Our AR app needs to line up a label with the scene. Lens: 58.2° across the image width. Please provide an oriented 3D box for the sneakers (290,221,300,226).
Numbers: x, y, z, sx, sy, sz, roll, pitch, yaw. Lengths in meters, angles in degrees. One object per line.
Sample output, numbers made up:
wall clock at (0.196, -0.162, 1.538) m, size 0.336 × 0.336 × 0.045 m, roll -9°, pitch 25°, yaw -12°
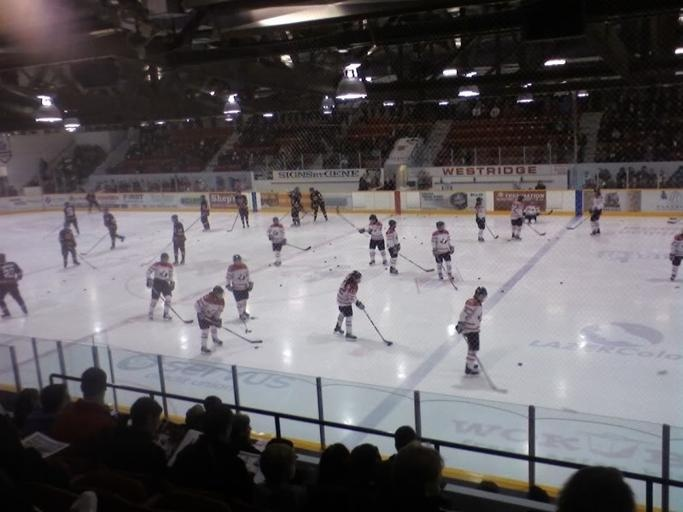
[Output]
sneakers at (-1.792, -1.234, 24.180) m, size 0.250 × 0.254 × 0.136 m, roll 6°, pitch -16°, yaw -39°

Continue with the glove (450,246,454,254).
glove at (2.475, -0.135, 13.777) m, size 0.087 × 0.154 × 0.116 m, roll -27°, pitch 56°, yaw -10°

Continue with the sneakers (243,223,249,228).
sneakers at (-3.832, -1.211, 24.487) m, size 0.242 × 0.121 × 0.267 m, roll 10°, pitch 31°, yaw -5°

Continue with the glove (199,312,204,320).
glove at (-2.342, 1.009, 10.240) m, size 0.085 × 0.082 × 0.025 m, roll 0°, pitch -11°, yaw 7°

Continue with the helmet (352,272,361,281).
helmet at (0.241, 0.322, 10.479) m, size 0.125 × 0.155 × 0.147 m, roll 14°, pitch -22°, yaw 11°

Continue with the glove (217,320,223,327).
glove at (-2.075, 1.163, 10.435) m, size 0.042 × 0.127 × 0.094 m, roll 3°, pitch 5°, yaw 1°

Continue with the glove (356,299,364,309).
glove at (0.318, 0.830, 10.421) m, size 0.070 × 0.156 × 0.090 m, roll -22°, pitch 27°, yaw 47°

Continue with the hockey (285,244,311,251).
hockey at (-1.201, -0.260, 18.949) m, size 0.635 × 0.261 × 0.018 m, roll 3°, pitch 4°, yaw 37°

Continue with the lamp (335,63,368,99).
lamp at (0.143, -2.876, 10.133) m, size 0.560 × 0.576 × 0.548 m, roll -2°, pitch 22°, yaw -3°

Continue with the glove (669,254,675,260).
glove at (6.868, 0.022, 12.742) m, size 0.118 × 0.045 × 0.145 m, roll -2°, pitch 49°, yaw 10°

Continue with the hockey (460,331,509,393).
hockey at (2.020, 1.564, 9.130) m, size 0.233 × 0.214 × 1.559 m, roll 37°, pitch 9°, yaw -20°

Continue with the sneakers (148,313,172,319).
sneakers at (-3.639, 1.239, 12.384) m, size 0.569 × 0.172 × 0.222 m, roll -1°, pitch -5°, yaw 16°

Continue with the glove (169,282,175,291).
glove at (-3.475, 0.620, 12.541) m, size 0.089 × 0.236 × 0.175 m, roll 7°, pitch -2°, yaw -3°

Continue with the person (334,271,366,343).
person at (0.159, 0.988, 11.201) m, size 0.457 × 1.146 × 0.443 m, roll -6°, pitch 54°, yaw -7°

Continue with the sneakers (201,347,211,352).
sneakers at (-2.307, 1.582, 10.442) m, size 0.156 × 0.100 × 0.151 m, roll -1°, pitch 8°, yaw -13°

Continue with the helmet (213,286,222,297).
helmet at (-2.085, 0.585, 10.332) m, size 0.143 × 0.161 × 0.317 m, roll -1°, pitch 8°, yaw -11°

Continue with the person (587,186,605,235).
person at (7.537, -1.287, 18.067) m, size 0.297 × 1.311 × 1.066 m, roll 4°, pitch 9°, yaw 24°

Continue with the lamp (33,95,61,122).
lamp at (-5.996, -3.030, 12.508) m, size 0.433 × 0.512 × 0.541 m, roll -3°, pitch 9°, yaw -25°

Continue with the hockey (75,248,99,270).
hockey at (-7.863, 0.187, 18.885) m, size 0.567 × 0.182 × 2.753 m, roll -8°, pitch 19°, yaw -22°

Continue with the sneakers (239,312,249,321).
sneakers at (-1.868, 1.177, 11.838) m, size 0.192 × 0.076 × 0.120 m, roll -1°, pitch 23°, yaw -4°

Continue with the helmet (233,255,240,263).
helmet at (-2.085, 0.062, 12.189) m, size 0.133 × 0.170 × 0.177 m, roll 8°, pitch 3°, yaw 26°

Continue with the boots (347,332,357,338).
boots at (0.170, 1.384, 10.634) m, size 0.197 × 0.130 × 0.068 m, roll 0°, pitch 10°, yaw 5°
